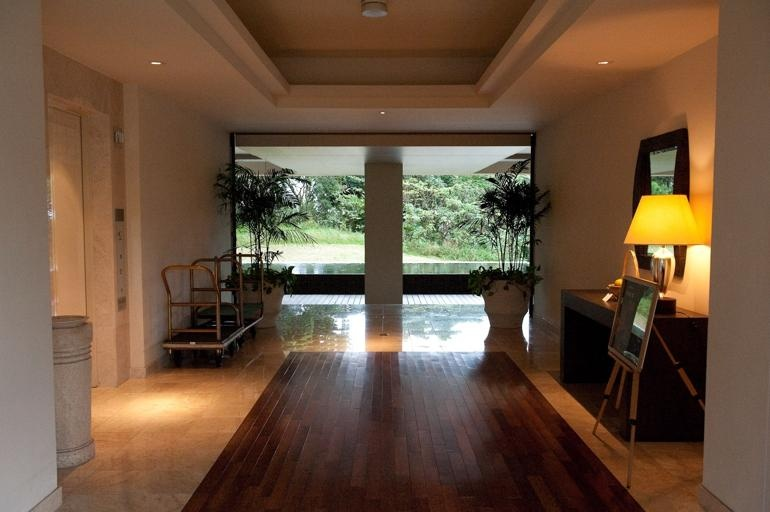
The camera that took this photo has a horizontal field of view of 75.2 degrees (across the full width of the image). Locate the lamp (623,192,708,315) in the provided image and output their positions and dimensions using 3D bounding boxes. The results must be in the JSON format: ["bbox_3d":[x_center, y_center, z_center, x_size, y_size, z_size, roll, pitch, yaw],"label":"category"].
[{"bbox_3d":[2.493,-0.069,4.466,0.653,0.853,0.652,3,0,-42],"label":"lamp"}]

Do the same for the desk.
[{"bbox_3d":[2.160,0.940,4.308,0.453,0.749,1.320,0,2,0],"label":"desk"}]
